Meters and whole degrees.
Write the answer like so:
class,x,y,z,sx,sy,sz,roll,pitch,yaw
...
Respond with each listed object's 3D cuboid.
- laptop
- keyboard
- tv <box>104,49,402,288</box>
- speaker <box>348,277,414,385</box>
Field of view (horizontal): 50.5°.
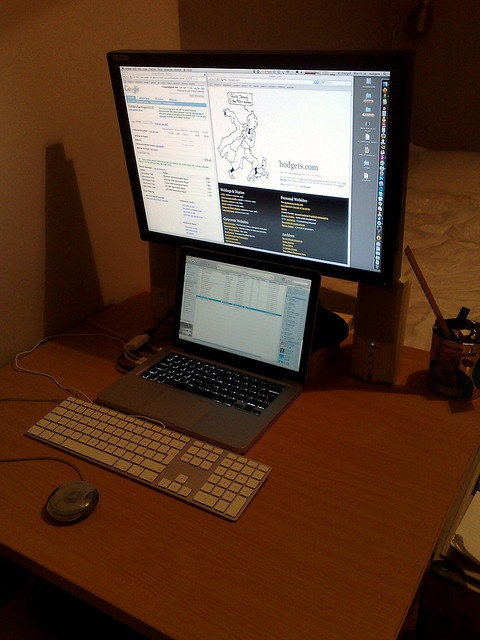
class,x,y,z,sx,sy,sz,roll,pitch,yaw
laptop,-0.053,0.029,0.847,0.314,0.206,0.299,9,25,21
keyboard,-0.135,0.193,0.728,0.297,0.016,0.099,17,45,31
tv,0.010,-0.258,0.860,0.532,0.347,0.068,15,29,28
speaker,0.247,0.018,0.914,0.078,0.177,0.060,7,11,18
